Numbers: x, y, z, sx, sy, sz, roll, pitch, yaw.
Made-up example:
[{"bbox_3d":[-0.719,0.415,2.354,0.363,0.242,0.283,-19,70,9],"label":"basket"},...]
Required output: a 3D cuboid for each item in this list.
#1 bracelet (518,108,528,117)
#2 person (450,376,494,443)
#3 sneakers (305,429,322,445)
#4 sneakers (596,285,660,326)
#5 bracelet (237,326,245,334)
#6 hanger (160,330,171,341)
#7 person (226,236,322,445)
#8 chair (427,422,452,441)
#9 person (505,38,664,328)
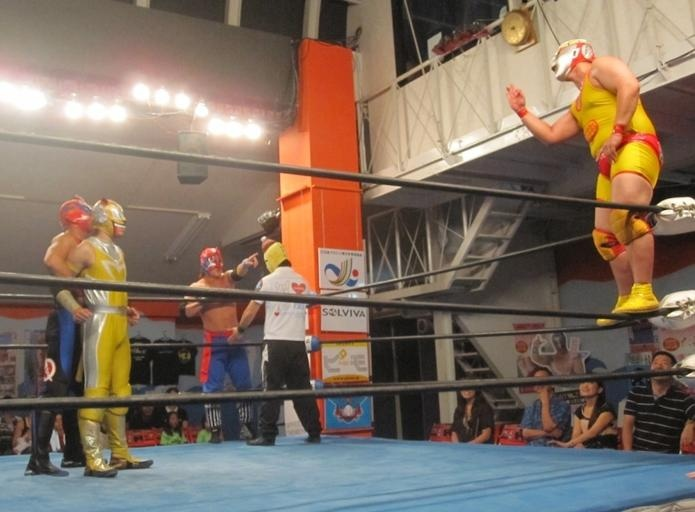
[{"bbox_3d":[1.196,-0.964,5.129,0.068,0.047,0.066,-9,4,24],"label":"bracelet"},{"bbox_3d":[1.295,1.764,7.968,0.498,0.729,0.427,-7,-11,20],"label":"person"},{"bbox_3d":[-0.305,1.556,6.431,0.117,0.117,0.111,4,-7,-29],"label":"sneakers"},{"bbox_3d":[1.854,0.308,4.651,0.591,0.225,0.190,2,-12,-30],"label":"sneakers"},{"bbox_3d":[-0.985,0.679,6.854,0.072,0.048,0.071,10,8,26],"label":"bracelet"},{"bbox_3d":[-3.036,1.308,12.460,0.155,0.140,0.149,0,-10,-3],"label":"hanger"},{"bbox_3d":[-0.586,0.725,6.422,0.665,1.774,0.876,-2,-4,-9],"label":"person"},{"bbox_3d":[1.222,2.340,9.934,0.251,0.204,0.732,-2,-3,3],"label":"chair"},{"bbox_3d":[1.644,-0.520,4.791,0.548,1.901,0.741,-1,-4,-17],"label":"person"}]
